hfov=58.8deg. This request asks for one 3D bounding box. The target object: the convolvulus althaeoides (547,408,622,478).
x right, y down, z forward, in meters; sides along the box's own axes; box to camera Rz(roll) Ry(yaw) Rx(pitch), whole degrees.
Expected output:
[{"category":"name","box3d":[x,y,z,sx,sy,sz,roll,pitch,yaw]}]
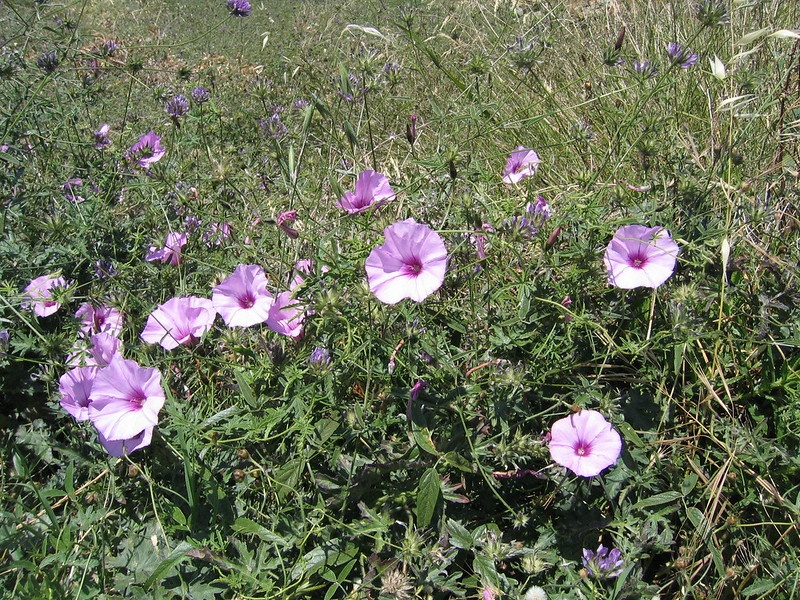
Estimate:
[{"category":"convolvulus althaeoides","box3d":[0.763,0.615,2.978,0.286,0.330,0.154,-13,85,22]}]

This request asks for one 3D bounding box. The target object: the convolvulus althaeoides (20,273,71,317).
[{"category":"convolvulus althaeoides","box3d":[-1.753,-0.022,3.507,0.197,0.089,0.252,-6,77,19]}]

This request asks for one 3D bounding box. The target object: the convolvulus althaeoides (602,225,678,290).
[{"category":"convolvulus althaeoides","box3d":[1.074,-0.200,3.268,0.340,0.376,0.186,8,72,-19]}]

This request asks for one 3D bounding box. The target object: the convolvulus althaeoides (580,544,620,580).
[{"category":"convolvulus althaeoides","box3d":[0.828,1.071,2.893,0.131,0.074,0.144,-16,38,-7]}]

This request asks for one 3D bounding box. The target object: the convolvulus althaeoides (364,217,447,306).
[{"category":"convolvulus althaeoides","box3d":[0.037,-0.165,3.014,0.302,0.170,0.385,1,82,20]}]

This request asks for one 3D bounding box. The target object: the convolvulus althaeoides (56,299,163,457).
[{"category":"convolvulus althaeoides","box3d":[-1.297,0.337,3.172,0.457,0.262,0.729,-13,65,-21]}]

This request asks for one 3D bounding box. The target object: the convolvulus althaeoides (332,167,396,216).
[{"category":"convolvulus althaeoides","box3d":[-0.144,-0.499,3.371,0.220,0.245,0.127,13,30,-16]}]

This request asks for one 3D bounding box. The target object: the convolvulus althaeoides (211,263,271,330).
[{"category":"convolvulus althaeoides","box3d":[-0.710,-0.016,3.193,0.244,0.134,0.299,6,81,13]}]

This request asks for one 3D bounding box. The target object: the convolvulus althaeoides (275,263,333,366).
[{"category":"convolvulus althaeoides","box3d":[-0.472,0.051,3.218,0.258,0.136,0.442,21,96,16]}]
